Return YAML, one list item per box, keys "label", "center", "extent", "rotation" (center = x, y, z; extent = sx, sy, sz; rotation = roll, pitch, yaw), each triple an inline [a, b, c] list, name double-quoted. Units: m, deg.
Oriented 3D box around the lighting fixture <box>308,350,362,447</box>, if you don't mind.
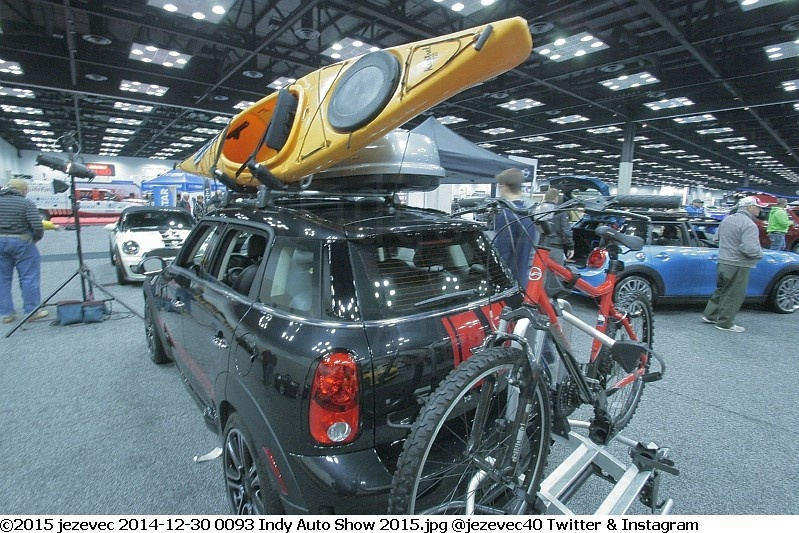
- label: "lighting fixture"
  center: [-0.453, 0.918, 3.160]
  extent: [0.331, 0.623, 0.164]
  rotation: [1, 12, -9]
